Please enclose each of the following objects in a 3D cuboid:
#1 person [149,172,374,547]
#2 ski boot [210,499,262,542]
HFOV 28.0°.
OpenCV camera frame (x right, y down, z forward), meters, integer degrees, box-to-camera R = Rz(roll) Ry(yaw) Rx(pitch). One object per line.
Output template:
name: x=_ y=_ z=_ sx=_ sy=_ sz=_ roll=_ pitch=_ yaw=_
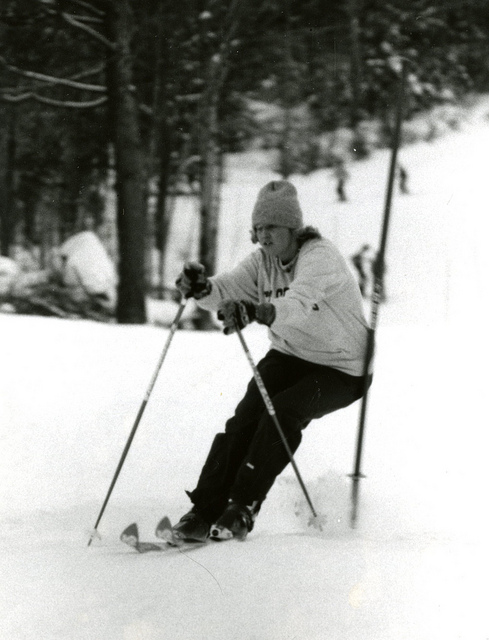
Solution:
person: x=0.074 y=0.163 z=4.019 sx=0.715 sy=1.482 sz=0.785 roll=7 pitch=6 yaw=22
ski boot: x=-0.033 y=0.782 z=3.796 sx=0.103 sy=0.105 sz=0.251 roll=-1 pitch=-16 yaw=16
